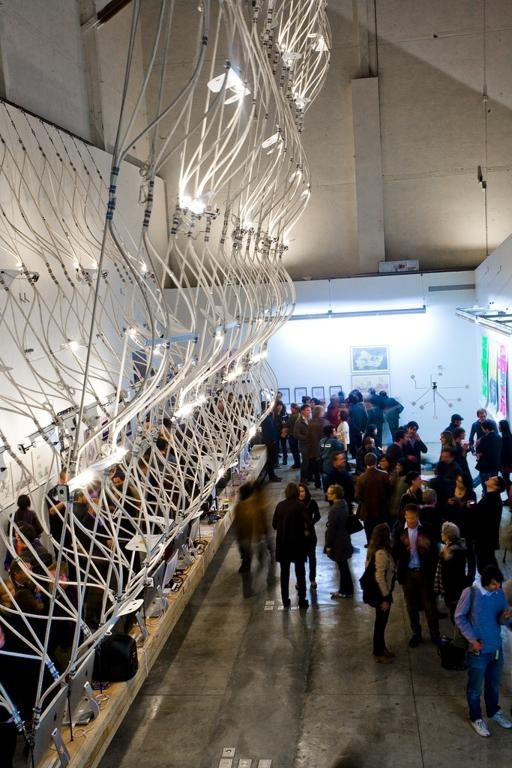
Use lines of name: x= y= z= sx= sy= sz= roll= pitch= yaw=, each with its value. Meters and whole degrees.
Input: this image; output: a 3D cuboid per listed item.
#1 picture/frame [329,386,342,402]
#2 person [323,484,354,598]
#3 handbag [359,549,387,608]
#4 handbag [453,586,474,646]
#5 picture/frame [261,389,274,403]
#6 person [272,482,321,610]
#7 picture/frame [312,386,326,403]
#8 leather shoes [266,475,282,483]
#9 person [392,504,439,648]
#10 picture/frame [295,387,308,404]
picture/frame: x=1.374 y=0.167 z=9.214 sx=0.217 sy=0.326 sz=0.023 roll=2 pitch=-7 yaw=1
person: x=0.679 y=1.261 z=4.426 sx=0.221 sy=0.820 sz=0.562 roll=-4 pitch=1 yaw=8
handbag: x=0.710 y=1.207 z=3.305 sx=0.148 sy=0.277 sz=0.112 roll=-4 pitch=1 yaw=27
handbag: x=1.024 y=1.127 z=2.629 sx=0.096 sy=0.228 sz=0.080 roll=-4 pitch=1 yaw=21
picture/frame: x=0.117 y=0.119 z=5.542 sx=0.105 sy=0.131 sz=0.209 roll=3 pitch=6 yaw=-6
person: x=0.306 y=1.273 z=4.243 sx=0.300 sy=0.895 sz=0.427 roll=-4 pitch=1 yaw=4
picture/frame: x=1.112 y=0.181 z=9.476 sx=0.243 sy=0.396 sz=0.013 roll=0 pitch=2 yaw=5
leather shoes: x=0.274 y=1.370 z=7.876 sx=0.206 sy=0.173 sz=0.073 roll=-2 pitch=4 yaw=3
person: x=1.048 y=1.253 z=3.527 sx=0.256 sy=0.794 sz=0.303 roll=-4 pitch=1 yaw=15
picture/frame: x=0.799 y=0.182 z=9.448 sx=0.247 sy=0.402 sz=0.014 roll=0 pitch=12 yaw=12
